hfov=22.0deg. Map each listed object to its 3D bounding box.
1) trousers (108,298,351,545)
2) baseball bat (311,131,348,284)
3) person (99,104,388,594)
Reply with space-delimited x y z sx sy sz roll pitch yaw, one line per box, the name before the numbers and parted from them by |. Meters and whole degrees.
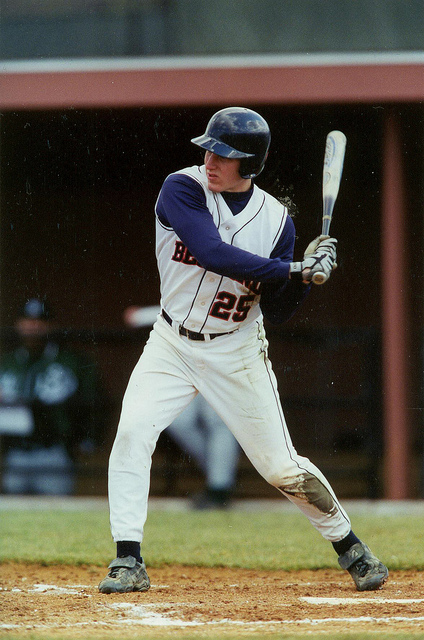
trousers | 0.044 0.329 3.492 0.760 0.748 0.337 -3 14 -7
baseball bat | 0.393 -0.396 3.555 0.068 0.072 0.624 11 50 -2
person | 0.086 0.191 3.491 0.797 1.683 0.702 1 14 8
